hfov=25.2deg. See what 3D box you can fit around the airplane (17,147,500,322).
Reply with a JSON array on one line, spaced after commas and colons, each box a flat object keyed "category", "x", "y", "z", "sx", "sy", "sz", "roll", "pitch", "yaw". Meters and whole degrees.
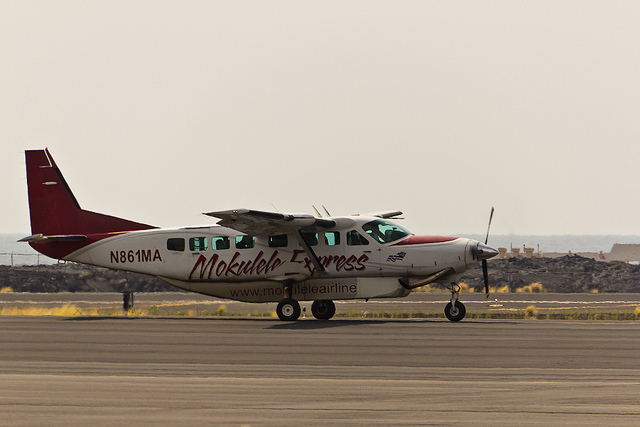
[{"category": "airplane", "x": -2.786, "y": 2.179, "z": 59.677, "sx": 23.591, "sy": 6.835, "sz": 6.795, "roll": 0, "pitch": -2, "yaw": -7}]
